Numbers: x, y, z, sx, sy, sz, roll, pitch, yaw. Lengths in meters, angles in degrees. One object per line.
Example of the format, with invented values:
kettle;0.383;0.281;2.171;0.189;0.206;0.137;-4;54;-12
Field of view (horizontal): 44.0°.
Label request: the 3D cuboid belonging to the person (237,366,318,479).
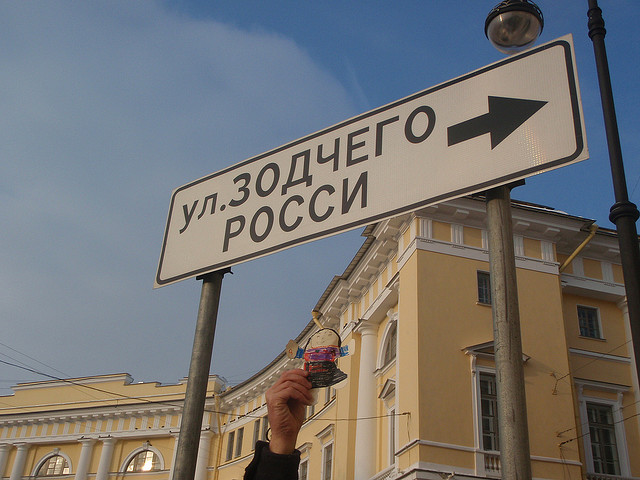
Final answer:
person;-0.268;1.329;5.862;0.431;0.857;0.491;15;-34;-19
